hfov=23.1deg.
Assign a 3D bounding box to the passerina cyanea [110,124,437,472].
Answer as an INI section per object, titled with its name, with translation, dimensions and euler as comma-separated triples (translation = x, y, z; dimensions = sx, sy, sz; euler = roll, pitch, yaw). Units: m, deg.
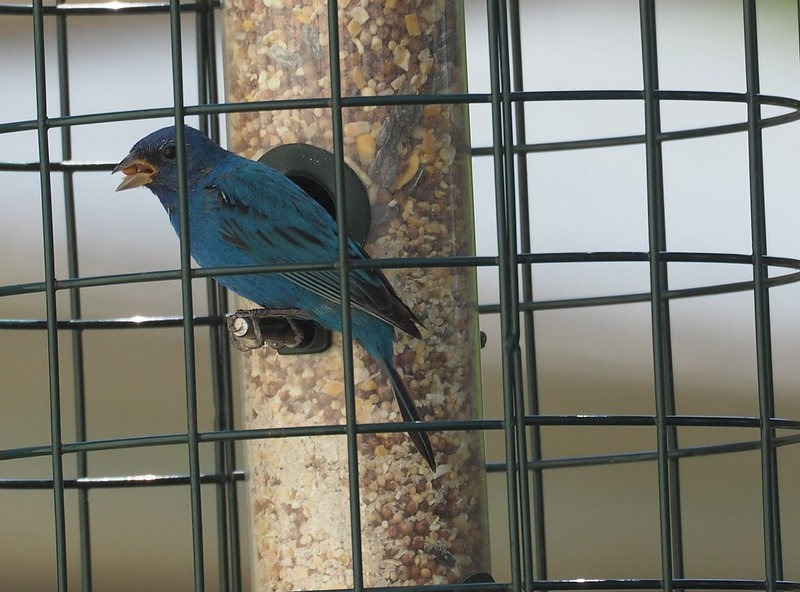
[passerina cyanea]
translation = -0.194, -0.097, 3.875
dimensions = 0.752, 0.502, 0.355
euler = 25, -58, -17
